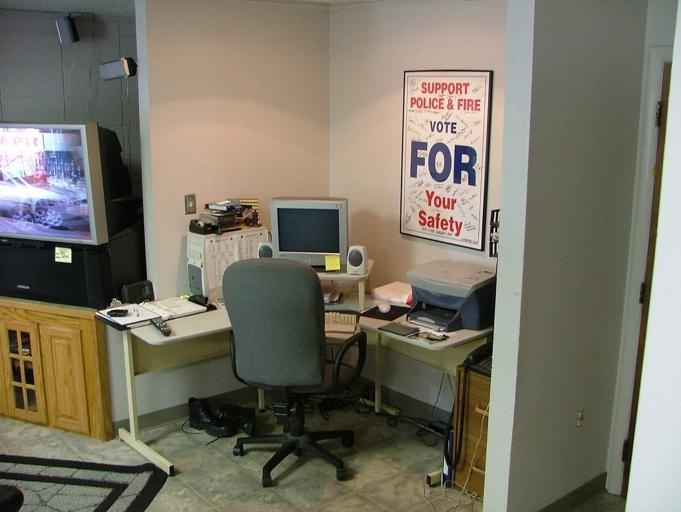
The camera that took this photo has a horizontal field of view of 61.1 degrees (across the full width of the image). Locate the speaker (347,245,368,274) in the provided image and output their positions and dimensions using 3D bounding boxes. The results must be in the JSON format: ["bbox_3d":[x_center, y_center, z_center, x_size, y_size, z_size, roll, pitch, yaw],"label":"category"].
[{"bbox_3d":[0.118,0.019,4.009,0.140,0.211,0.175,1,14,11],"label":"speaker"}]

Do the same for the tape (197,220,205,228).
[{"bbox_3d":[-0.963,-0.232,4.004,0.034,0.032,0.085,-7,14,-22],"label":"tape"}]

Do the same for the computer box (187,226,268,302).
[{"bbox_3d":[-0.758,0.053,3.766,0.407,0.391,0.233,-14,17,-40],"label":"computer box"}]

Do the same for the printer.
[{"bbox_3d":[0.735,0.155,3.627,0.474,0.321,0.424,10,18,44],"label":"printer"}]

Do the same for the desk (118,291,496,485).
[{"bbox_3d":[-0.695,0.618,3.539,1.427,0.598,1.433,-9,12,-40],"label":"desk"}]

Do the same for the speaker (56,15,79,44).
[{"bbox_3d":[-2.111,-1.745,4.467,0.165,0.206,0.135,-5,13,-14],"label":"speaker"}]

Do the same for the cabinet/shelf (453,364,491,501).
[{"bbox_3d":[0.762,1.020,3.394,0.221,0.755,0.082,10,16,43],"label":"cabinet/shelf"}]

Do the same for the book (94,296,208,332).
[{"bbox_3d":[-1.228,0.357,3.828,0.660,0.083,0.378,-13,17,-39],"label":"book"}]

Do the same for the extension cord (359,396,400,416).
[{"bbox_3d":[0.311,1.093,4.339,0.178,0.051,0.111,17,10,33],"label":"extension cord"}]

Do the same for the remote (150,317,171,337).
[{"bbox_3d":[-1.110,0.427,3.594,0.077,0.035,0.144,-6,29,-27],"label":"remote"}]

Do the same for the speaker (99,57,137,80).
[{"bbox_3d":[-1.512,-1.278,3.968,0.246,0.158,0.061,0,13,20],"label":"speaker"}]

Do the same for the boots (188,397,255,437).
[{"bbox_3d":[-0.830,1.123,4.051,0.389,0.181,0.248,-1,9,5],"label":"boots"}]

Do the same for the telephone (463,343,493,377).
[{"bbox_3d":[0.809,0.598,3.387,0.172,0.062,0.130,8,21,39],"label":"telephone"}]
